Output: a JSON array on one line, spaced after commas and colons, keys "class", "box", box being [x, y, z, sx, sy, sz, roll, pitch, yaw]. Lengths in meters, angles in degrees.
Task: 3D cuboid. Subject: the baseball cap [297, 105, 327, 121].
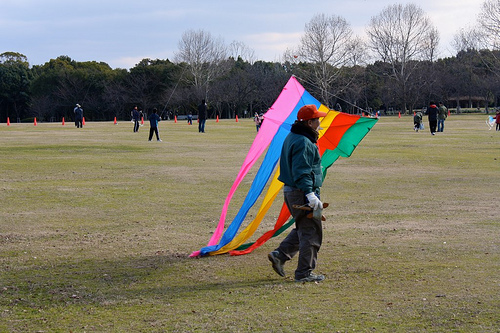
[{"class": "baseball cap", "box": [1.166, -0.999, 13.493, 0.448, 0.217, 0.282, -8, 13, -8]}]

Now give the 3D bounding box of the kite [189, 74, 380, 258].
[{"class": "kite", "box": [1.076, 0.160, 15.940, 1.928, 3.802, 0.914, 27, 42, -3]}]

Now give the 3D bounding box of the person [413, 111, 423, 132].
[{"class": "person", "box": [10.450, -2.737, 44.700, 0.422, 1.168, 0.923, 2, 15, 6]}]

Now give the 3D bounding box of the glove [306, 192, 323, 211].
[{"class": "glove", "box": [1.195, 0.621, 13.207, 0.227, 0.337, 0.135, 7, 23, 41]}]

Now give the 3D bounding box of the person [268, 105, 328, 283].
[{"class": "person", "box": [0.957, 0.509, 13.544, 0.894, 3.196, 1.046, 1, 15, 5]}]
